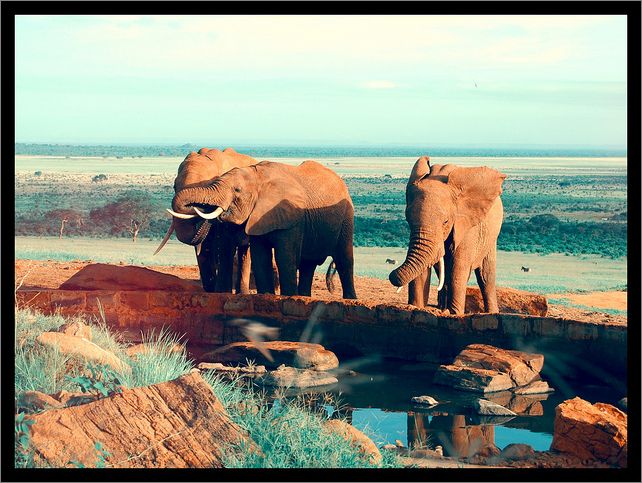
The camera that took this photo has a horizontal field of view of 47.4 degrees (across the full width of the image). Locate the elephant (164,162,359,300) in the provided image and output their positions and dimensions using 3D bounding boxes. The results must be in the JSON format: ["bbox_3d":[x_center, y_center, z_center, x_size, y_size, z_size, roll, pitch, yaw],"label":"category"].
[{"bbox_3d":[-0.979,-0.068,13.939,4.105,2.801,1.489,2,-3,-39],"label":"elephant"}]

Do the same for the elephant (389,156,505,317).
[{"bbox_3d":[2.347,-0.049,13.296,1.684,2.892,3.694,8,5,37],"label":"elephant"}]
